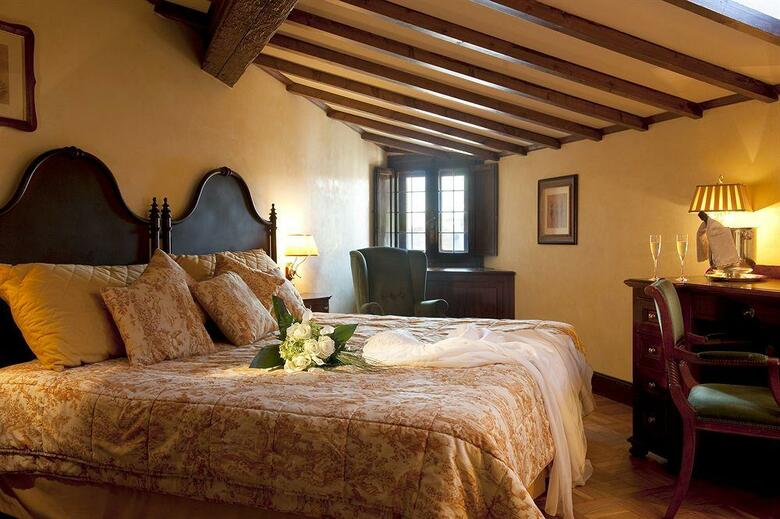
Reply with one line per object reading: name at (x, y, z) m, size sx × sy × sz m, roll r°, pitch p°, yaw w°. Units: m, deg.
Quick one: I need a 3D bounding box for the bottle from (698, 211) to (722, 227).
bottle at (2.620, -0.336, 4.603) m, size 0.056 × 0.057 × 0.169 m, roll -28°, pitch 55°, yaw -36°

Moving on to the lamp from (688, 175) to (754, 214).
lamp at (2.747, -0.504, 4.712) m, size 0.322 × 0.249 × 0.352 m, roll 0°, pitch 1°, yaw 24°

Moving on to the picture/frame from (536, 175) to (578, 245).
picture/frame at (2.022, -0.598, 6.746) m, size 0.079 × 1.052 × 0.836 m, roll 2°, pitch -2°, yaw -28°

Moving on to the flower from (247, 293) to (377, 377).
flower at (-0.496, 0.529, 3.603) m, size 0.540 × 0.229 × 0.531 m, roll 8°, pitch 15°, yaw 26°

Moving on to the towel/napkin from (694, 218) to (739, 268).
towel/napkin at (2.609, -0.135, 4.485) m, size 0.356 × 0.462 × 0.257 m, roll -9°, pitch -8°, yaw 34°

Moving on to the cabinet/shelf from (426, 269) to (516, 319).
cabinet/shelf at (1.102, 0.439, 7.316) m, size 0.595 × 0.576 × 0.235 m, roll 1°, pitch 3°, yaw 11°
